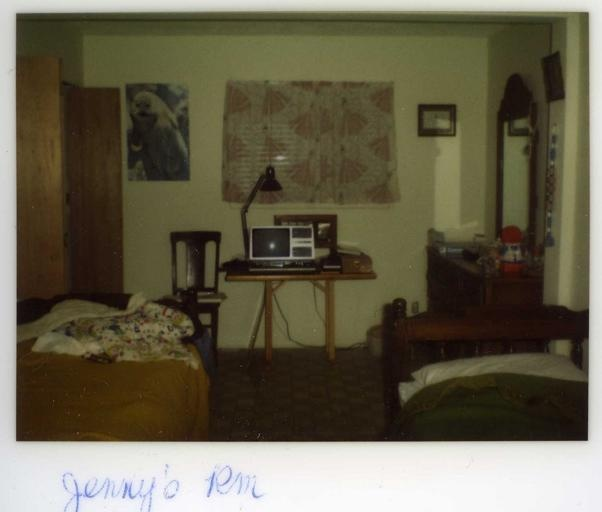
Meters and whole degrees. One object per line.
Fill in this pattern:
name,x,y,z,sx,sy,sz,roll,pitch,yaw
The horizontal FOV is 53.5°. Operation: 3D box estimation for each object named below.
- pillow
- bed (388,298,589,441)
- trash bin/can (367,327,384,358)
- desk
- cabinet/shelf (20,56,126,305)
pillow,0.817,0.466,2.496,0.425,0.082,0.278,-2,-2,3
bed,0.765,0.490,2.417,0.608,0.534,0.683,-1,-3,3
trash bin/can,0.571,0.673,4.654,0.139,0.156,0.173,0,-7,3
desk,-0.034,0.426,4.432,0.982,0.765,0.977,-1,9,-5
cabinet/shelf,-1.542,-0.458,4.094,0.427,1.672,1.305,-1,9,-7
